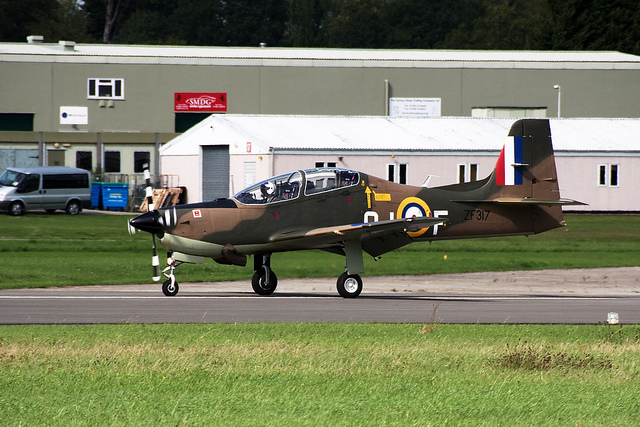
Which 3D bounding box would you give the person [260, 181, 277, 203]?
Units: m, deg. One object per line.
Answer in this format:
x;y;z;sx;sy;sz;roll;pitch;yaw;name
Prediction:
-2.352;-0.962;59.186;0.887;0.831;0.677;-1;2;-14;person
